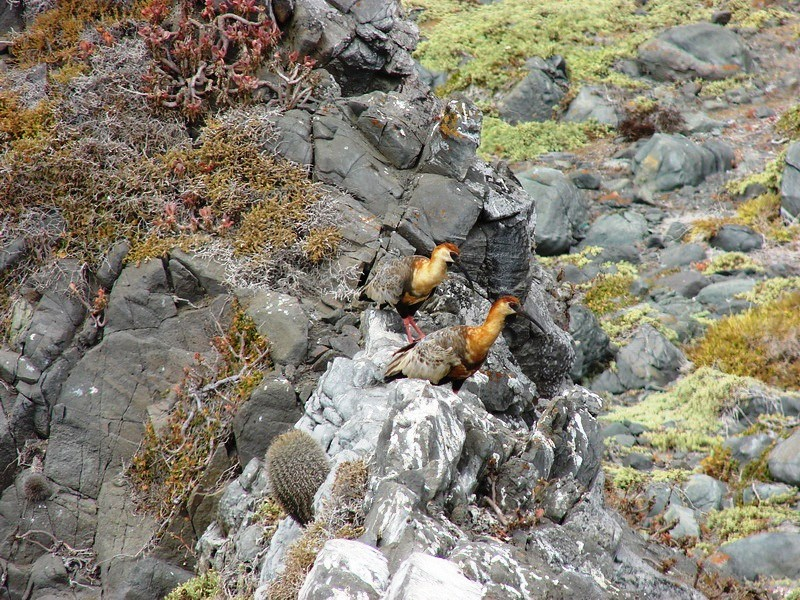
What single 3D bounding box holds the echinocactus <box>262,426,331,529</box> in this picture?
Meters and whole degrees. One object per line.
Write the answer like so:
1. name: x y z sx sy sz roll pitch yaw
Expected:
1. echinocactus: -1.784 3.023 20.565 0.995 1.194 1.104 7 37 28
